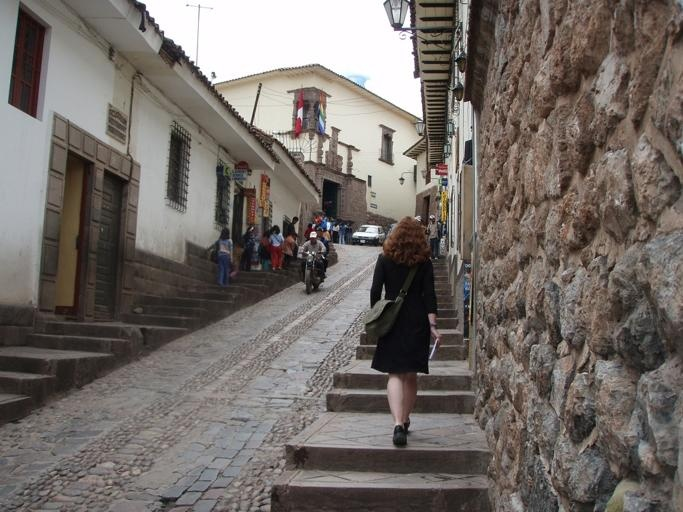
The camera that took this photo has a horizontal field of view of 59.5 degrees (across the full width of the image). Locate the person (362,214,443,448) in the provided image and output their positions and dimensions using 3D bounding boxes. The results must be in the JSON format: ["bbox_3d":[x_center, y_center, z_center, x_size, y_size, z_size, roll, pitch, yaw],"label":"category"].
[{"bbox_3d":[0.471,0.575,4.600,0.550,1.728,0.625,2,4,10],"label":"person"}]

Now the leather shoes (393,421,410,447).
[{"bbox_3d":[0.442,1.322,4.435,0.112,0.166,0.373,1,-7,5],"label":"leather shoes"}]

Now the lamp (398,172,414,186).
[{"bbox_3d":[4.761,-5.695,43.928,0.335,1.099,2.096,4,5,34],"label":"lamp"}]

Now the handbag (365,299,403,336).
[{"bbox_3d":[0.320,0.465,4.525,0.279,0.284,0.136,2,4,5],"label":"handbag"}]

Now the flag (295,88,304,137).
[{"bbox_3d":[-2.454,-8.249,34.506,0.526,2.722,1.190,1,4,-4],"label":"flag"}]

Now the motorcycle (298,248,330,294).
[{"bbox_3d":[-0.753,0.397,15.086,0.520,0.997,1.168,2,5,9],"label":"motorcycle"}]
